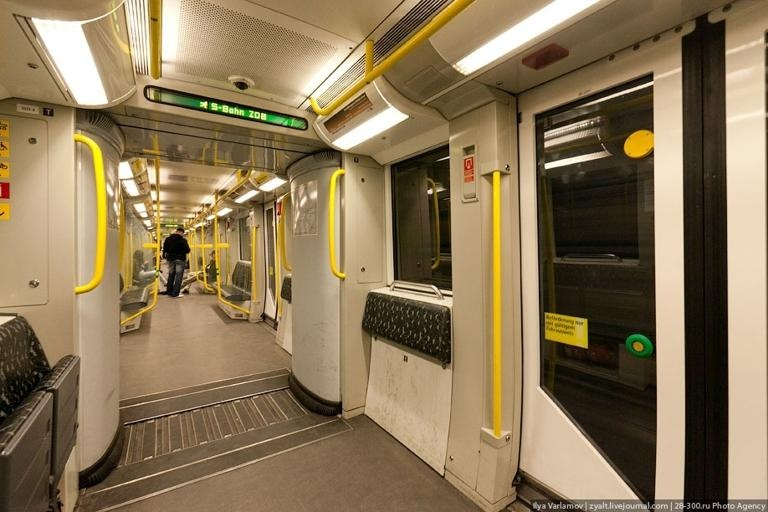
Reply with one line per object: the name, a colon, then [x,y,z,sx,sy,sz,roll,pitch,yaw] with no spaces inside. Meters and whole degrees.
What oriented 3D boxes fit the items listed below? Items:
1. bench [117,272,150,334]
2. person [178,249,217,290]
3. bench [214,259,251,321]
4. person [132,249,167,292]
bench: [-3.949,0.763,7.776,0.330,0.373,1.082,-1,7,-23]
person: [-5.322,0.403,14.131,1.480,1.226,1.043,3,0,-19]
bench: [-2.955,0.689,9.829,0.621,1.042,2.500,-5,15,-18]
person: [-5.382,0.308,11.273,0.813,0.760,1.002,-12,-10,25]
